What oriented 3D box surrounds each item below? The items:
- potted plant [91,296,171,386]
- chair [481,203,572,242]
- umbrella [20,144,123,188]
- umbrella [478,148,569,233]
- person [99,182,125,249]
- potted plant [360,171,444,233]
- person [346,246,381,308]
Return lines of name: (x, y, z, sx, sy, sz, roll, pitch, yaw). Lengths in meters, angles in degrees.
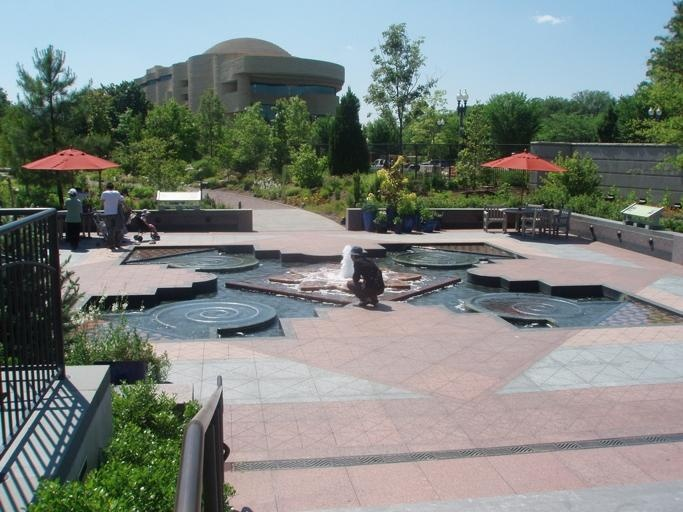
potted plant: (-3.035, 1.227, 8.512, 0.941, 0.517, 1.031, 3, 0, -9)
chair: (6.848, -1.298, 21.723, 2.221, 1.050, 3.196, -6, 13, -29)
umbrella: (-8.646, -3.078, 19.002, 2.168, 0.689, 2.517, -2, 11, -11)
umbrella: (6.931, -2.198, 23.103, 3.933, 3.488, 3.843, 5, 20, 13)
person: (-6.762, -1.191, 17.517, 0.572, 1.902, 0.868, -4, 13, -21)
potted plant: (2.276, -2.151, 22.547, 2.728, 2.315, 2.207, 1, 11, 3)
person: (0.513, 0.427, 11.902, 0.711, 1.154, 0.651, 1, 12, 2)
